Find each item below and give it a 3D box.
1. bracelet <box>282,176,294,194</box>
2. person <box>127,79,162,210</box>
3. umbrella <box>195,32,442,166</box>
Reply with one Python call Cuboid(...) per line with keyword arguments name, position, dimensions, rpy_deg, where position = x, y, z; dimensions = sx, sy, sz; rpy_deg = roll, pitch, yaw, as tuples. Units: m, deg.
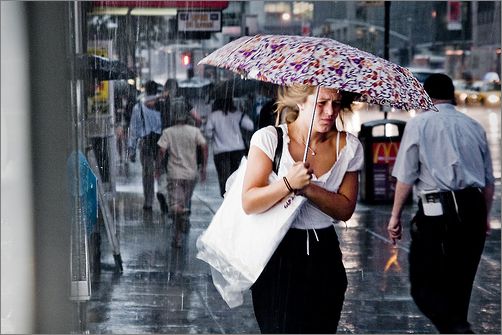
Cuboid(name="bracelet", position=(0.333, 0.146, 8.390), dimensions=(0.039, 0.116, 0.102), rpy_deg=(-28, 39, -1))
Cuboid(name="person", position=(-1.397, -0.352, 12.557), dimensions=(0.485, 1.702, 0.314), rpy_deg=(-1, 15, -10))
Cuboid(name="umbrella", position=(0.572, -0.630, 9.176), dimensions=(1.713, 1.314, 1.886), rpy_deg=(6, 2, 19))
